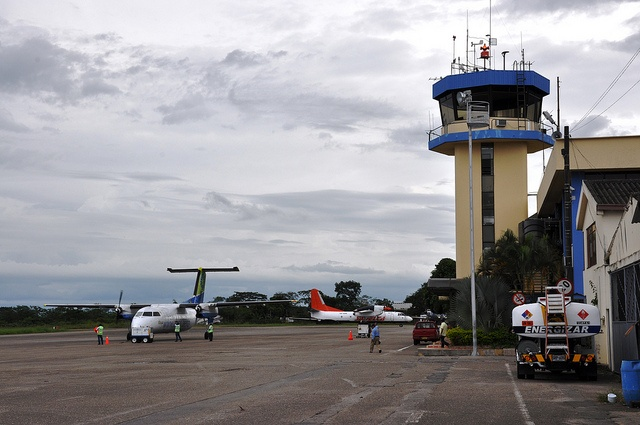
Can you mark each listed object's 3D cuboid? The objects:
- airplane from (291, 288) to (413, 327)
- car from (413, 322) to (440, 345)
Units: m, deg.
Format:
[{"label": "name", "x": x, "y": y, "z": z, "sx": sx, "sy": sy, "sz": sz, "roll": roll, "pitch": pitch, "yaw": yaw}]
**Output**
[{"label": "airplane", "x": 6.379, "y": 15.611, "z": 105.484, "sx": 9.173, "sy": 5.403, "sz": 18.799, "roll": 4, "pitch": -9, "yaw": -27}, {"label": "car", "x": 7.940, "y": 9.009, "z": 47.450, "sx": 1.863, "sy": 1.708, "sz": 1.663, "roll": -1, "pitch": -9, "yaw": 9}]
